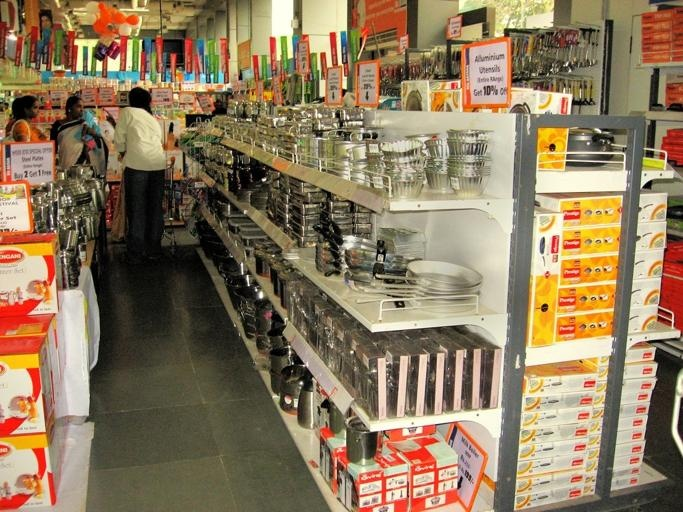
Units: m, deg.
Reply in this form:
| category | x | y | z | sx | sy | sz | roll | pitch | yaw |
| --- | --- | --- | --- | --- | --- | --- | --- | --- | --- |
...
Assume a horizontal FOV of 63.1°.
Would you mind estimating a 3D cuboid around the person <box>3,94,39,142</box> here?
| category | x | y | z | sx | sy | sz | roll | pitch | yaw |
| --- | --- | --- | --- | --- | --- | --- | --- | --- | --- |
| person | -4.186 | -1.821 | 7.275 | 0.458 | 0.636 | 1.363 | -9 | 13 | -26 |

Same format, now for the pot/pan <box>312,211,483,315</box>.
| category | x | y | z | sx | sy | sz | roll | pitch | yaw |
| --- | --- | --- | --- | --- | --- | --- | --- | --- | --- |
| pot/pan | 0.287 | 0.054 | 2.818 | 0.699 | 0.217 | 0.412 | 6 | 22 | -11 |

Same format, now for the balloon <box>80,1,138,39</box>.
| category | x | y | z | sx | sy | sz | roll | pitch | yaw |
| --- | --- | --- | --- | --- | --- | --- | --- | --- | --- |
| balloon | -4.742 | -4.869 | 11.601 | 0.812 | 0.825 | 1.081 | -13 | 15 | -38 |

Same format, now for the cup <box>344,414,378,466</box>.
| category | x | y | z | sx | sy | sz | roll | pitch | yaw |
| --- | --- | --- | --- | --- | --- | --- | --- | --- | --- |
| cup | 0.094 | 0.914 | 2.829 | 0.240 | 0.200 | 0.224 | 0 | 5 | 0 |

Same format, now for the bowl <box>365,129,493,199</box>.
| category | x | y | z | sx | sy | sz | roll | pitch | yaw |
| --- | --- | --- | --- | --- | --- | --- | --- | --- | --- |
| bowl | 0.400 | -0.427 | 2.590 | 0.562 | 0.292 | 0.429 | -3 | 12 | -1 |
